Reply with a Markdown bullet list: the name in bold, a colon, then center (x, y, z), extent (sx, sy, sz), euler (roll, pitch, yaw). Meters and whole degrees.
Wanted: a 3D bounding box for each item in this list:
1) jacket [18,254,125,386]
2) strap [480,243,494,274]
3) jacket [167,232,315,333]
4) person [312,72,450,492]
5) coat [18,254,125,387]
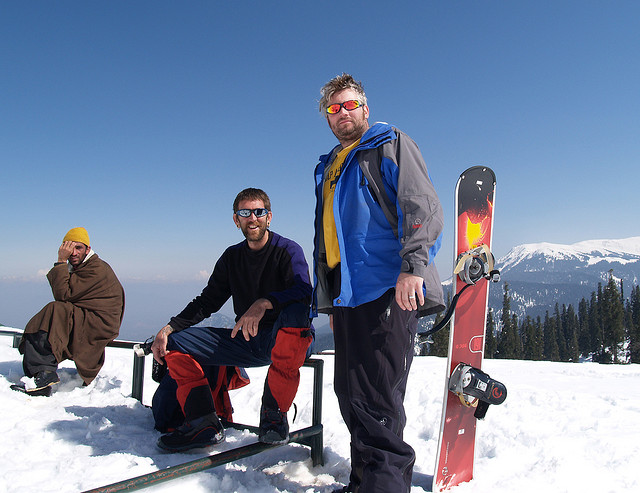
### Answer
- **jacket**: center (-3.215, 0.952, 6.709), extent (1.063, 1.703, 0.664), euler (2, -3, -23)
- **strap**: center (1.520, 0.113, 4.741), extent (0.108, 0.224, 0.162), euler (-18, -29, 28)
- **jacket**: center (-0.730, 0.523, 5.021), extent (1.049, 1.238, 1.197), euler (6, 3, 43)
- **person**: center (0.443, 0.277, 4.167), extent (1.172, 3.600, 0.461), euler (-2, -4, 40)
- **coat**: center (-3.355, 0.871, 6.959), extent (1.097, 2.045, 0.899), euler (16, -17, -41)
